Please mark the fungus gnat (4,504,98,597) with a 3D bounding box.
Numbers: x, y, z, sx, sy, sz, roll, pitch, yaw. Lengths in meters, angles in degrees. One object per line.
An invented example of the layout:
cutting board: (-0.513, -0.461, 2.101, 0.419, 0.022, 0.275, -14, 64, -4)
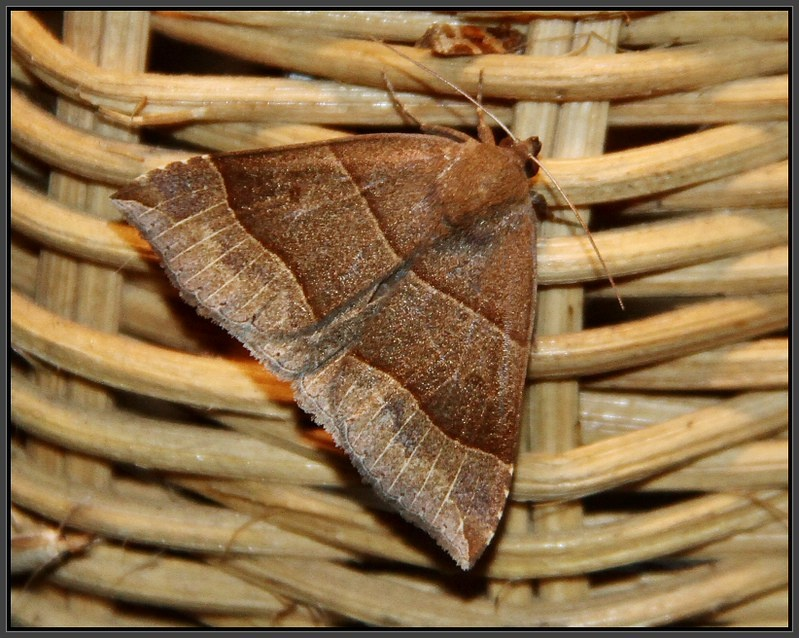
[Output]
fungus gnat: (-0.660, 0.434, 2.068, 0.170, 0.136, 0.021, 7, -9, 6)
